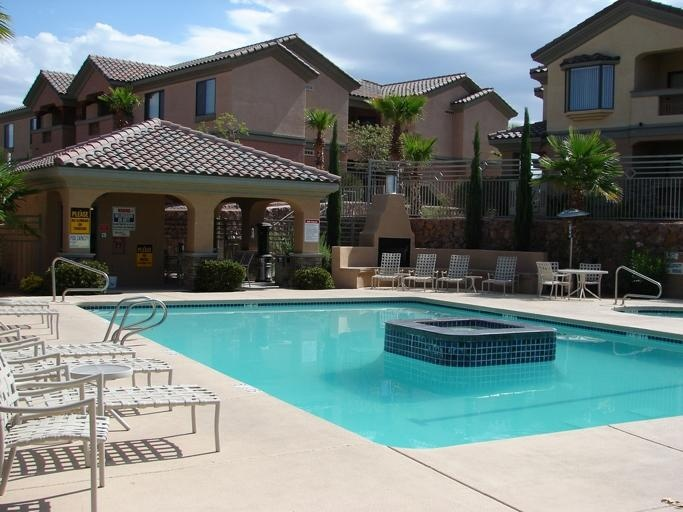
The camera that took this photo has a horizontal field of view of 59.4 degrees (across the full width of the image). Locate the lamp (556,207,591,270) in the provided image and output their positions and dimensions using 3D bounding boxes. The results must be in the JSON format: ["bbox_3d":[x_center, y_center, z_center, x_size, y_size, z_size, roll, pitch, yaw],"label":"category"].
[{"bbox_3d":[7.868,-0.636,20.196,0.887,1.934,2.818,1,0,21],"label":"lamp"}]
